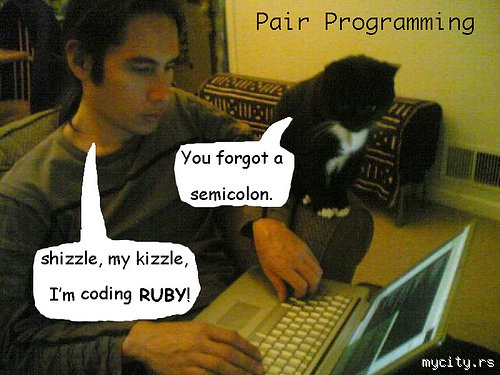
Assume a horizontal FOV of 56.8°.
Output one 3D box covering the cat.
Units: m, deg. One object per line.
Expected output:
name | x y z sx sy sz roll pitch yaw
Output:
cat | 0.298 -0.224 1.769 0.290 0.586 0.569 -6 27 -18
